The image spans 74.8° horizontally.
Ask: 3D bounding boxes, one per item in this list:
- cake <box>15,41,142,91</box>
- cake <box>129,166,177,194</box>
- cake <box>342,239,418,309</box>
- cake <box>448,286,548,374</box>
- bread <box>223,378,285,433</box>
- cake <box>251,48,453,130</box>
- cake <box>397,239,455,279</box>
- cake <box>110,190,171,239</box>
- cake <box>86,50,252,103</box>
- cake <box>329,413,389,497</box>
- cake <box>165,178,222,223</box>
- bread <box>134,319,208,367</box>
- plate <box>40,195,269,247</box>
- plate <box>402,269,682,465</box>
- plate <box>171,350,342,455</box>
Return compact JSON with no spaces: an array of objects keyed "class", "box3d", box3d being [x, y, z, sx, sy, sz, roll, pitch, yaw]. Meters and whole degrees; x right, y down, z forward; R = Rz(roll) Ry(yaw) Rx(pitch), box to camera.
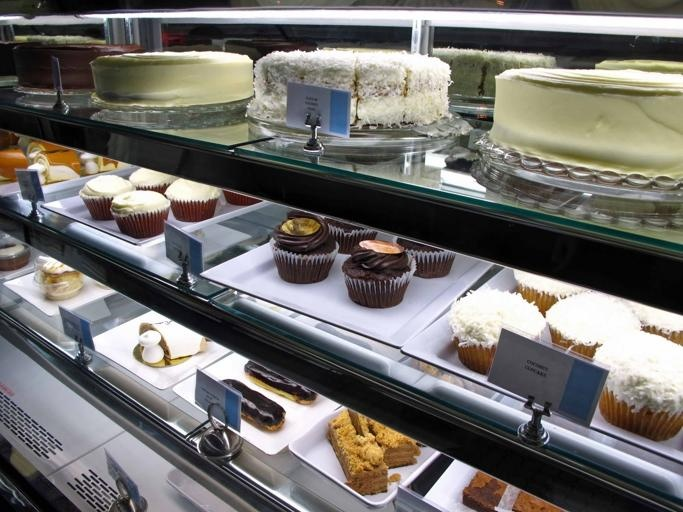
[{"class":"cake","box3d":[-0.893,-0.648,1.484,0.342,0.090,0.274,4,31,4]},{"class":"cake","box3d":[-0.698,-0.277,1.652,0.183,0.092,0.190,-8,29,-26]},{"class":"cake","box3d":[0.100,0.041,1.209,0.223,0.127,0.192,1,17,-5]},{"class":"cake","box3d":[0.330,0.145,1.018,0.209,0.100,0.195,-8,26,-10]},{"class":"bread","box3d":[-0.337,0.529,1.594,0.290,0.069,0.142,20,35,29]},{"class":"cake","box3d":[0.026,-0.389,1.068,0.432,0.108,0.439,-19,25,-40]},{"class":"cake","box3d":[0.244,0.011,1.331,0.148,0.064,0.145,-12,20,-41]},{"class":"cake","box3d":[-0.774,-0.140,1.656,0.209,0.122,0.196,-9,11,4]},{"class":"cake","box3d":[-0.467,-0.512,1.230,0.384,0.082,0.349,12,24,28]},{"class":"cake","box3d":[0.049,0.590,1.382,0.142,0.078,0.254,-3,15,-9]},{"class":"cake","box3d":[-0.585,-0.208,1.725,0.199,0.111,0.196,-6,14,-21]},{"class":"bread","box3d":[-0.677,0.343,1.780,0.212,0.081,0.289,11,4,32]},{"class":"plate","box3d":[-0.828,-0.162,1.800,0.452,0.026,0.414,18,24,39]},{"class":"plate","box3d":[0.379,0.236,0.882,0.453,0.040,0.315,22,43,31]},{"class":"plate","box3d":[-0.236,0.542,1.493,0.478,0.040,0.434,19,24,32]}]
